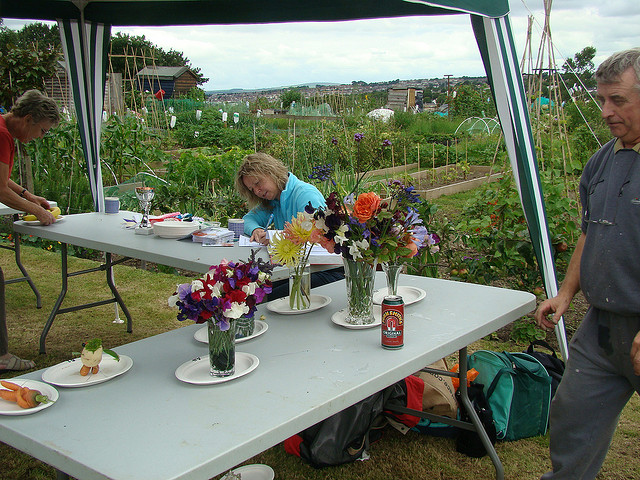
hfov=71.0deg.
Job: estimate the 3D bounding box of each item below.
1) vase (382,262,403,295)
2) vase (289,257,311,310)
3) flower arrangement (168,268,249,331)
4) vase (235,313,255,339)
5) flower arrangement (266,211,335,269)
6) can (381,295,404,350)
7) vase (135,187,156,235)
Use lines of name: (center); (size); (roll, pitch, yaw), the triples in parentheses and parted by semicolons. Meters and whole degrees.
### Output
vase: (0.359, 0.184, 2.223); (0.091, 0.217, 0.273); (-1, 11, 8)
vase: (-0.126, 0.235, 2.410); (0.149, 0.253, 0.146); (-6, 9, -33)
flower arrangement: (-0.411, 0.220, 1.710); (0.213, 0.193, 0.242); (11, 11, 28)
vase: (-0.327, 0.386, 2.060); (0.109, 0.111, 0.113); (1, 1, 7)
flower arrangement: (-0.108, 0.013, 2.203); (0.268, 0.315, 0.383); (-7, 11, -17)
can: (0.310, 0.352, 1.924); (0.098, 0.217, 0.082); (-2, 12, 7)
vase: (-1.468, -0.262, 3.749); (0.173, 0.350, 0.649); (-7, 11, -20)
